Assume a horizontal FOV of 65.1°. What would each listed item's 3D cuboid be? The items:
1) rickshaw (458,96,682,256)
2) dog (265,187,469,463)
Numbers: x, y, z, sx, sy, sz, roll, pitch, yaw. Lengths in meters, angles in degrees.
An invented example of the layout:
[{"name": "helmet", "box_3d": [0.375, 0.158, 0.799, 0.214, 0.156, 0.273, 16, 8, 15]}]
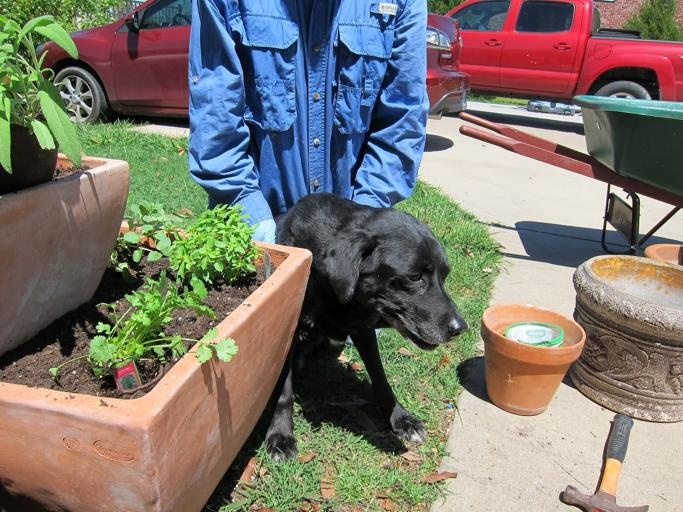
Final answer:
[{"name": "rickshaw", "box_3d": [2.109, -0.511, 5.239, 2.354, 1.037, 1.220, 17, 24, 2]}, {"name": "dog", "box_3d": [-0.110, 0.288, 3.417, 0.828, 1.331, 2.416, 4, 7, -29]}]
